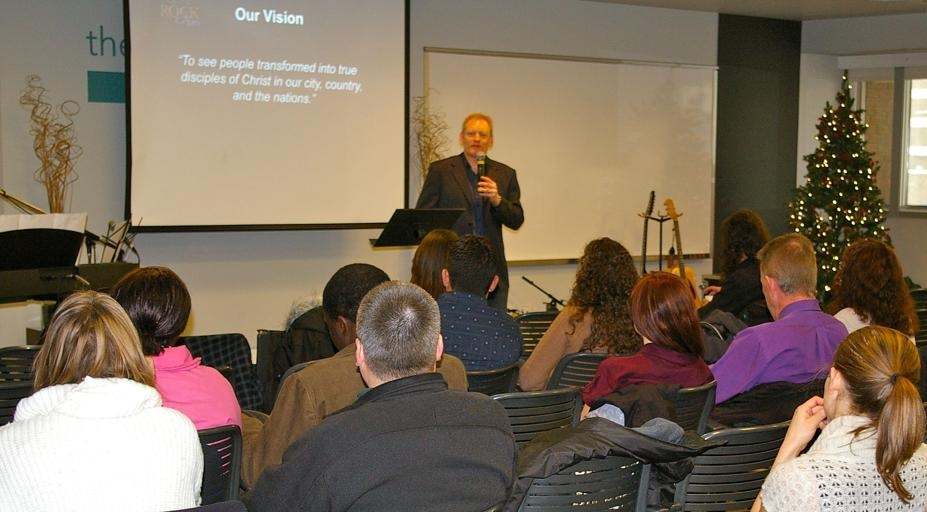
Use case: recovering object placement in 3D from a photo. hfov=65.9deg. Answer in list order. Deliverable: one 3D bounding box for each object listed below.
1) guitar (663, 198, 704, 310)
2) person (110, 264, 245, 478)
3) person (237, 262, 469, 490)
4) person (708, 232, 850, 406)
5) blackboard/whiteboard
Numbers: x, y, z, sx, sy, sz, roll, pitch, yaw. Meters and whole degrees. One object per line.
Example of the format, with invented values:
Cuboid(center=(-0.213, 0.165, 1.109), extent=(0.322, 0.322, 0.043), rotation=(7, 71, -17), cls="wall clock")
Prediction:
Cuboid(center=(2.624, 0.112, 8.223), extent=(0.187, 1.435, 0.576), rotation=(-16, 5, -2), cls="guitar")
Cuboid(center=(-1.599, 0.639, 3.966), extent=(0.627, 0.692, 1.306), rotation=(-14, -38, -6), cls="person")
Cuboid(center=(-0.585, 0.653, 3.848), extent=(0.980, 1.344, 0.752), rotation=(-4, 43, -21), cls="person")
Cuboid(center=(2.126, 0.364, 4.775), extent=(1.361, 0.942, 0.658), rotation=(-8, 12, -32), cls="person")
Cuboid(center=(1.104, -1.164, 7.899), extent=(2.757, 1.696, 0.088), rotation=(-1, 3, -21), cls="blackboard/whiteboard")
